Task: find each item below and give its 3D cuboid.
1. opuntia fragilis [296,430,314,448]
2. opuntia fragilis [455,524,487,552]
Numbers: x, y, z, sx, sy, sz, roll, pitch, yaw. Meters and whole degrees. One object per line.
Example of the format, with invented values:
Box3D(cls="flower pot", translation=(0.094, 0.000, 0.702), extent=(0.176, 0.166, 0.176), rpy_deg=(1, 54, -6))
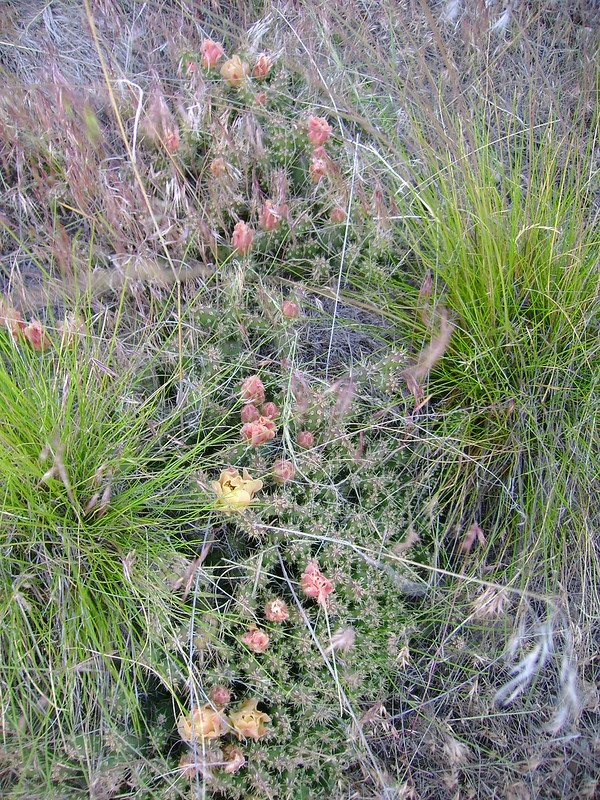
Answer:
Box3D(cls="opuntia fragilis", translation=(0.013, 0.114, 1.870), extent=(0.047, 0.039, 0.049), rpy_deg=(17, 97, 48))
Box3D(cls="opuntia fragilis", translation=(0.524, 0.421, 1.991), extent=(0.078, 0.134, 0.065), rpy_deg=(-10, 76, 6))
